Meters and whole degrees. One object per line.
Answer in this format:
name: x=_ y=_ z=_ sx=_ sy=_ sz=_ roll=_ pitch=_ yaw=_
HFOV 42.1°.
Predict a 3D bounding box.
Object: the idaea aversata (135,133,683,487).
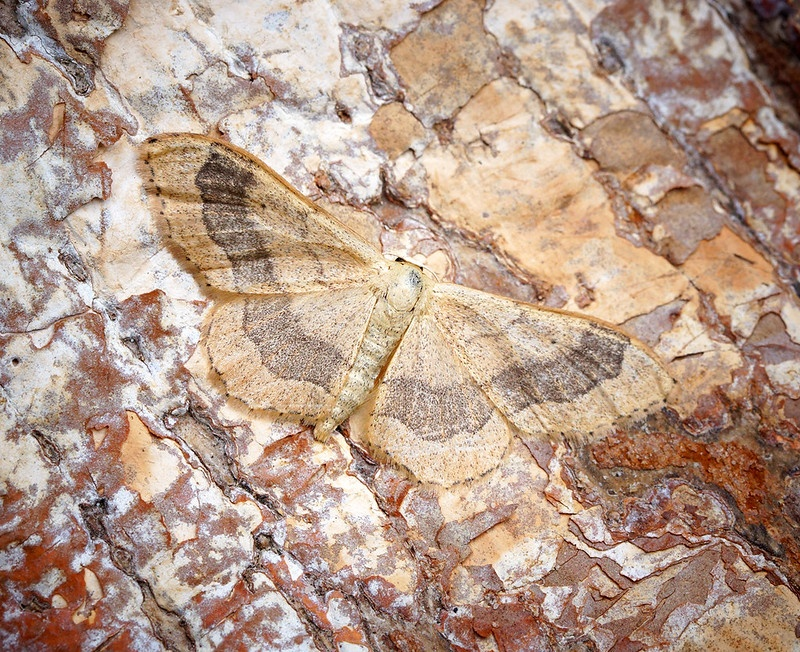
idaea aversata: x=-0.123 y=0.075 z=4.678 sx=2.393 sy=0.638 sz=0.966 roll=24 pitch=84 yaw=3
